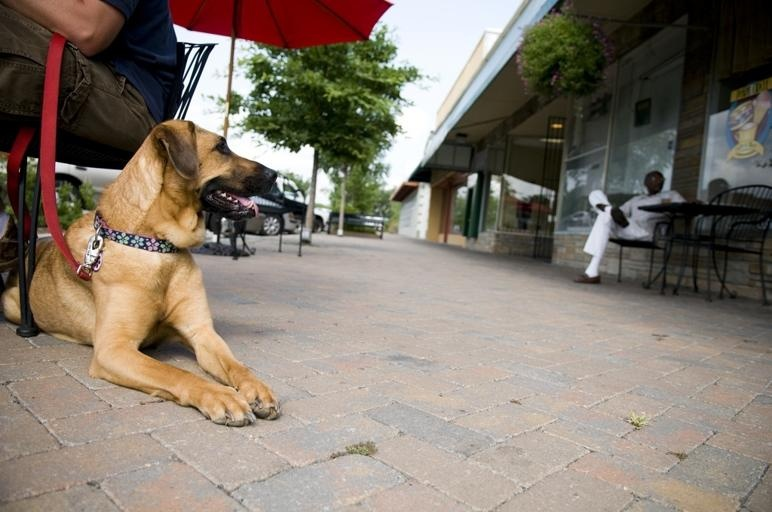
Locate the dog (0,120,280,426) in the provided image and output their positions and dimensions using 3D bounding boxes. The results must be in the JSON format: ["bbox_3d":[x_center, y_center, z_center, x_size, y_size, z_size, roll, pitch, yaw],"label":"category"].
[{"bbox_3d":[-1.134,-0.007,2.676,1.386,1.452,0.749,8,10,26],"label":"dog"}]

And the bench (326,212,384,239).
[{"bbox_3d":[-1.844,-1.675,27.992,2.492,1.001,0.837,7,43,-3],"label":"bench"}]

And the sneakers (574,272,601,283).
[{"bbox_3d":[3.526,0.379,8.395,0.520,0.199,0.182,3,2,6],"label":"sneakers"}]
